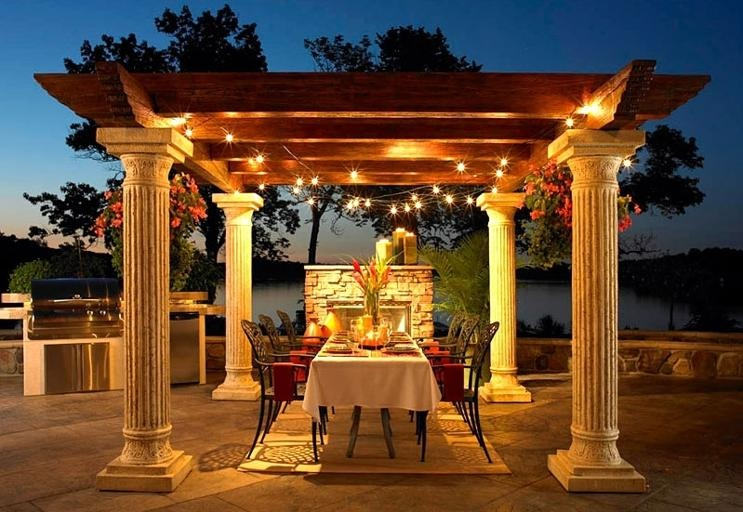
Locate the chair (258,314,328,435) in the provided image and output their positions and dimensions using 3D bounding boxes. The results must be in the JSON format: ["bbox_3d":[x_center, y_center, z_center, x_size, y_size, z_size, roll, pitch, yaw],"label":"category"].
[{"bbox_3d":[-1.012,1.520,7.765,0.970,1.411,0.938,-1,1,-10],"label":"chair"}]

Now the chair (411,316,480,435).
[{"bbox_3d":[1.098,1.556,8.105,0.804,1.146,0.676,10,8,-4],"label":"chair"}]

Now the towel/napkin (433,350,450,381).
[{"bbox_3d":[0.885,1.412,8.126,0.329,0.434,0.324,0,-1,6],"label":"towel/napkin"}]

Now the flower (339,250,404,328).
[{"bbox_3d":[0.111,0.510,8.496,0.528,0.782,0.465,9,1,-21],"label":"flower"}]

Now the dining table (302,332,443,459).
[{"bbox_3d":[0.013,1.711,7.593,1.529,1.216,1.310,0,4,0],"label":"dining table"}]

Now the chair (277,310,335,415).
[{"bbox_3d":[-0.891,1.451,8.392,0.719,1.014,0.665,-3,-3,1],"label":"chair"}]

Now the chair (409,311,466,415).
[{"bbox_3d":[0.897,1.530,9.108,1.082,1.547,0.921,1,-10,-14],"label":"chair"}]
